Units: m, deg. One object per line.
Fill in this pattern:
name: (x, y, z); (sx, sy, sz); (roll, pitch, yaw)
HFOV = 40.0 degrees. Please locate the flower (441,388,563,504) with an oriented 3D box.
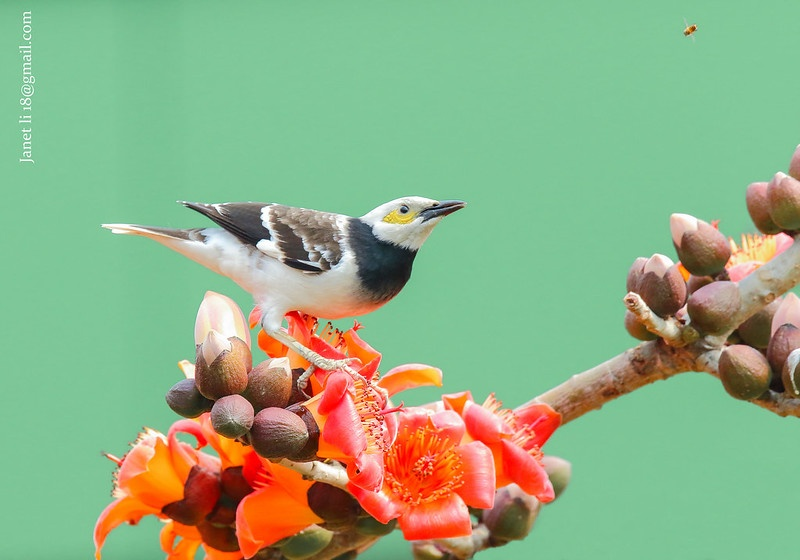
flower: (0.394, 0.490, 3.480); (0.414, 0.204, 0.299); (-20, -40, 11)

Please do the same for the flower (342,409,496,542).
flower: (0.099, 0.582, 3.264); (0.420, 0.387, 0.198); (15, -24, -1)

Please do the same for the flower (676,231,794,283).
flower: (1.020, -0.064, 3.360); (0.171, 0.080, 0.169); (-39, -24, 31)
